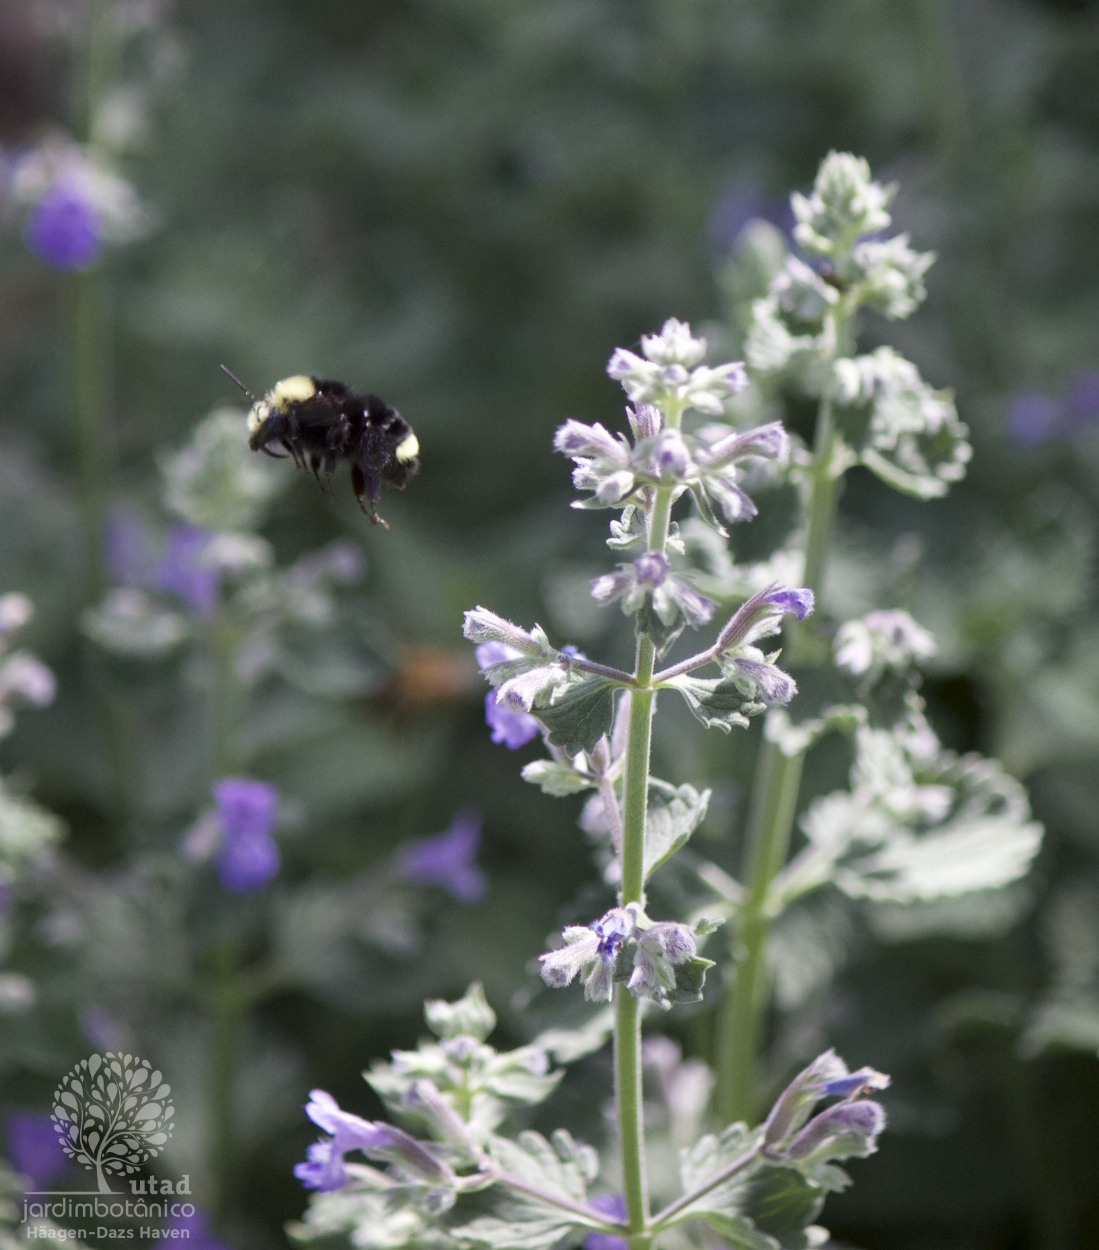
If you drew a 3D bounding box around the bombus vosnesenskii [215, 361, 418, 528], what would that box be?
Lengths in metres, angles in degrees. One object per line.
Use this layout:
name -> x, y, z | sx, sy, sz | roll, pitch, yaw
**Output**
bombus vosnesenskii -> -0.232, -0.173, 1.760 | 0.213, 0.067, 0.148 | 17, 7, 17
